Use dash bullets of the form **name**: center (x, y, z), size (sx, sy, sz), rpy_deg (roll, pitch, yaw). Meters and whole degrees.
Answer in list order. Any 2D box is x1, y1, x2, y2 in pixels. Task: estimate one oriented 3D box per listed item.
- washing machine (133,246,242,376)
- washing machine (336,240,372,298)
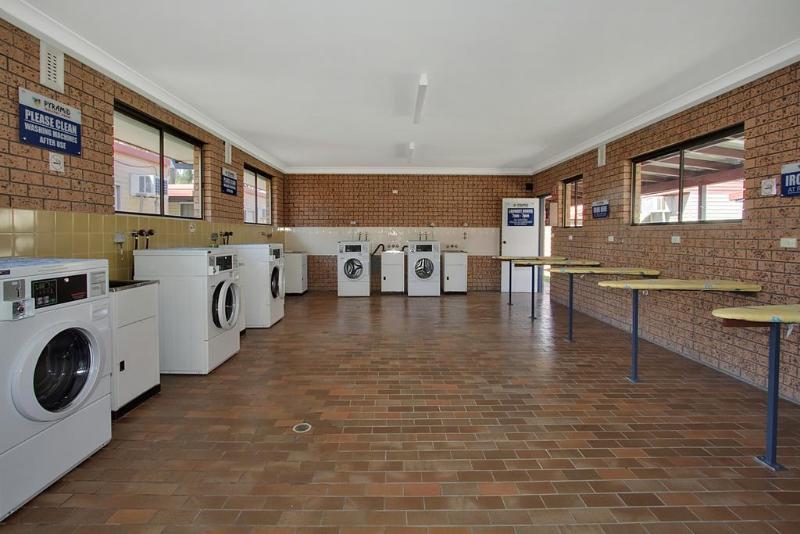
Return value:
- **washing machine**: center (-2.255, 0.460, 5.853), size (1.162, 1.331, 1.139), rpy_deg (0, 3, 4)
- **washing machine**: center (-0.960, 0.021, 10.175), size (0.688, 1.137, 0.326), rpy_deg (0, 8, -4)
